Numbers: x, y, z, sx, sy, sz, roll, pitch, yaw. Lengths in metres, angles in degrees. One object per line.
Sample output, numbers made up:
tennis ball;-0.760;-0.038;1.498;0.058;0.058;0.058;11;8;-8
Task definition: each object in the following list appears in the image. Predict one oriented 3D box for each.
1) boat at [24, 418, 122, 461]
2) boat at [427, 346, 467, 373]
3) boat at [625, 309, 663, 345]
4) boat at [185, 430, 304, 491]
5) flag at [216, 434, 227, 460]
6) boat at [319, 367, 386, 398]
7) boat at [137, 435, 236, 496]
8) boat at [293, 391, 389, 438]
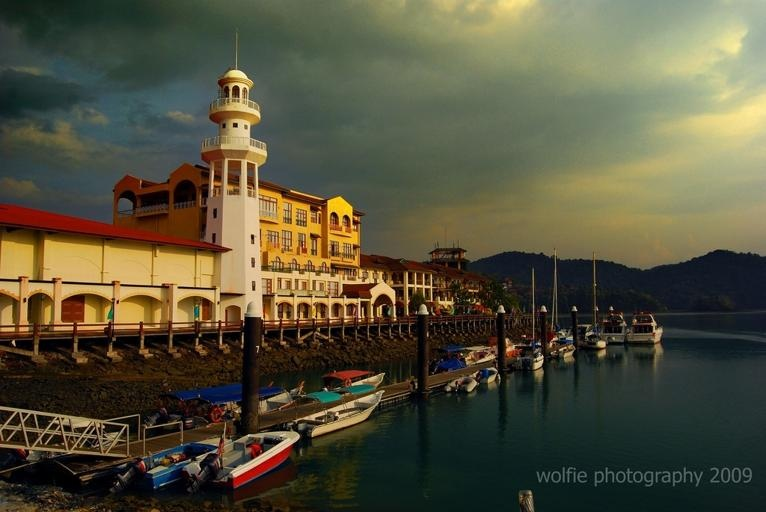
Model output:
boat;-20.817;12.556;45.090;8.498;3.083;3.267;0;-2;5
boat;7.740;11.489;74.749;2.988;2.143;4.505;-11;-16;32
boat;45.282;12.769;116.275;5.405;5.459;10.523;-4;-6;21
boat;-9.437;14.442;47.223;4.896;2.751;9.650;-6;3;31
flag;-10.917;13.100;45.428;0.418;1.735;0.605;8;11;5
boat;-2.703;12.216;62.860;2.396;2.021;8.035;2;-2;35
boat;-13.506;14.146;45.529;2.902;1.309;5.804;6;7;33
boat;-3.480;13.108;54.701;2.294;1.887;7.410;6;10;44
